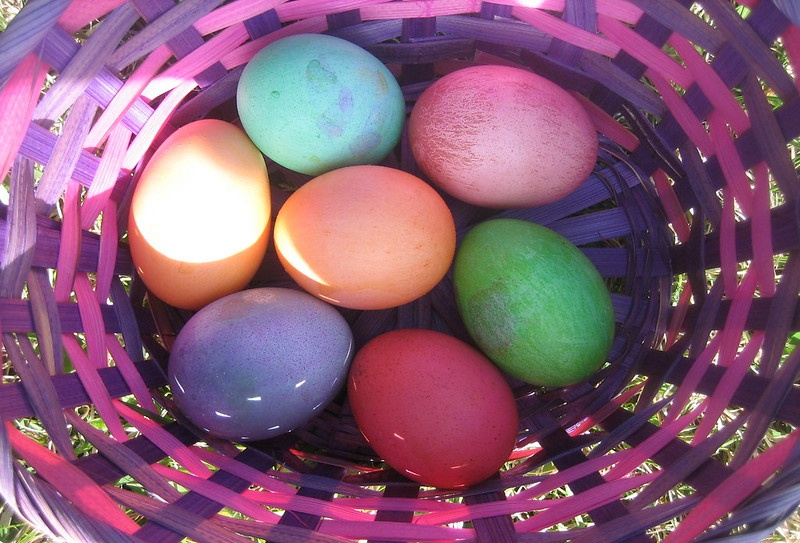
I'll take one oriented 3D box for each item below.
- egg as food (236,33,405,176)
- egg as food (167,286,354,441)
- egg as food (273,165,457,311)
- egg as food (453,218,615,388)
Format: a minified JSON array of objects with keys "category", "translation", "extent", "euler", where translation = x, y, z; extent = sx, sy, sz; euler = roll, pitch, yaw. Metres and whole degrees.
[{"category":"egg as food","translation":[-0.126,-0.264,1.080],"extent":[0.249,0.198,0.195],"euler":[9,63,14]},{"category":"egg as food","translation":[-0.225,0.142,1.082],"extent":[0.296,0.091,0.236],"euler":[-25,84,-4]},{"category":"egg as food","translation":[-0.058,-0.058,1.078],"extent":[0.291,0.084,0.223],"euler":[-1,83,-1]},{"category":"egg as food","translation":[0.210,0.047,1.184],"extent":[0.282,0.215,0.208],"euler":[46,112,21]}]
